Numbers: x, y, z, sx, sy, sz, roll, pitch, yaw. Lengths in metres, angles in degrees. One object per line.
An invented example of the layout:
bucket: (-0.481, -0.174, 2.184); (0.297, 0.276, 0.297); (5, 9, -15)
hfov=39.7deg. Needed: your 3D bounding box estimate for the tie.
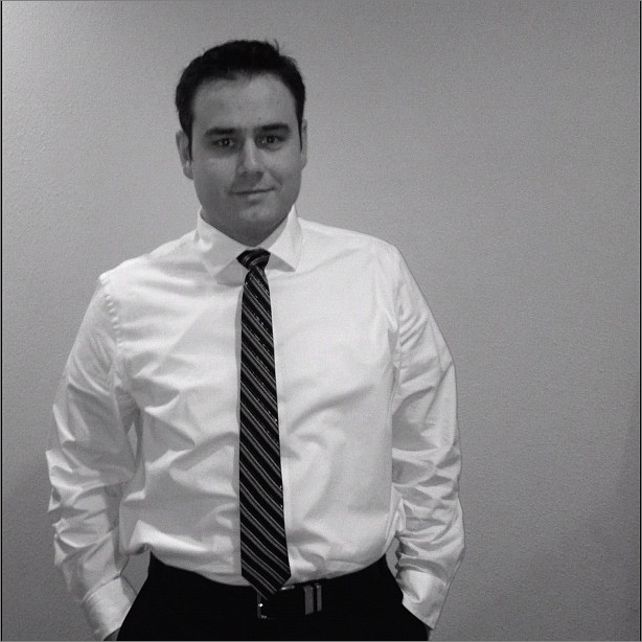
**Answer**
tie: (-0.136, 0.202, 1.854); (0.096, 0.705, 0.225); (-4, 3, -2)
